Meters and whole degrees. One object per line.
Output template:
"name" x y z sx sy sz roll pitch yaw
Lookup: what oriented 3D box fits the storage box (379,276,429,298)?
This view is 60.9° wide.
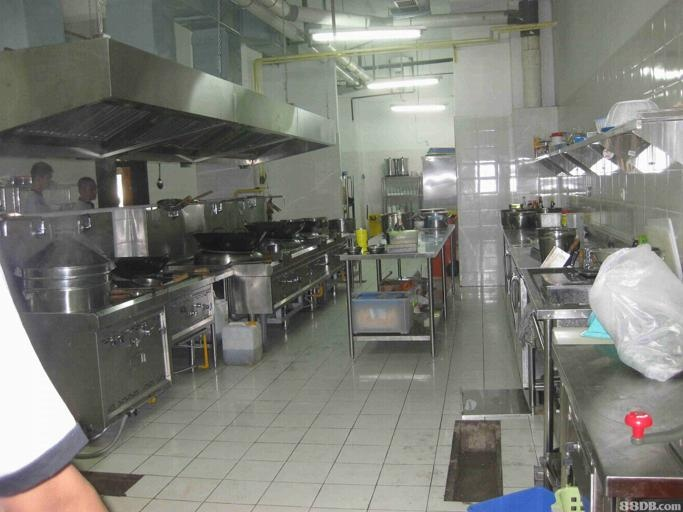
"storage box" 0.572 0.286 5.382 0.238 0.112 0.310 1 4 18

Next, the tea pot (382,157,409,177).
"tea pot" 1.342 -2.137 14.094 0.533 0.381 0.455 -1 5 1

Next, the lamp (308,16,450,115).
"lamp" 0.680 -3.138 9.602 1.829 0.716 2.882 2 5 8

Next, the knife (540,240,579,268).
"knife" 1.357 0.011 3.548 0.194 0.201 0.048 14 -17 48

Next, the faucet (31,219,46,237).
"faucet" -1.923 -0.172 3.683 0.092 0.091 0.164 1 -2 -25

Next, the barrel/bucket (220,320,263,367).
"barrel/bucket" -0.789 0.729 4.916 0.338 0.354 0.343 0 2 0

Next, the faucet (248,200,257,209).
"faucet" -1.019 -0.585 6.600 0.112 0.106 0.035 4 -7 -15

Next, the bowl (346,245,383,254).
"bowl" 0.202 -0.044 4.726 0.315 0.052 0.237 -4 9 -2

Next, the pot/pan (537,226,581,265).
"pot/pan" 1.444 -0.082 3.911 0.227 0.359 0.228 -2 9 6

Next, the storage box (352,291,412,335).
"storage box" 0.316 0.484 4.700 0.366 0.245 0.371 -1 2 7

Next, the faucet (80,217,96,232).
"faucet" -1.879 -0.229 4.303 0.065 0.104 0.097 0 10 -12
